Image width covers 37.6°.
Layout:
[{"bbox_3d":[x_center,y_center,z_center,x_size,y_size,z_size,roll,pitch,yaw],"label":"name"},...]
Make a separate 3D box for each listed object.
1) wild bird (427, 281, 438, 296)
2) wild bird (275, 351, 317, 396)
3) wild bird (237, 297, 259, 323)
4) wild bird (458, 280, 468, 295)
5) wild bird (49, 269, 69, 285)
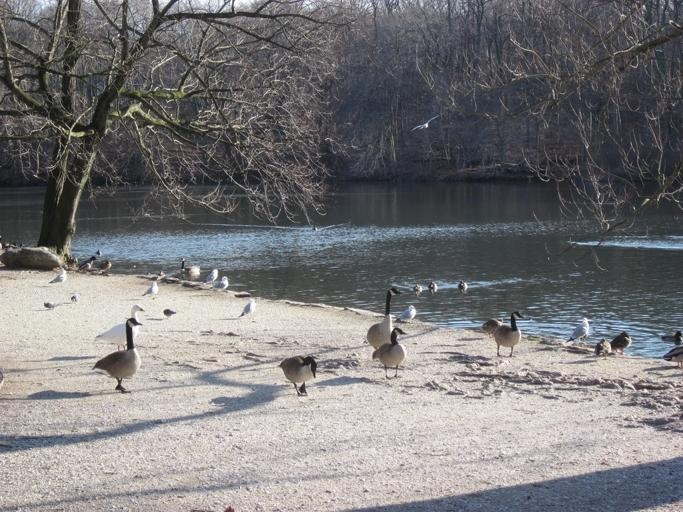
[{"bbox_3d":[2.909,1.020,32.273,0.227,0.384,0.263,-2,19,13],"label":"wild bird"},{"bbox_3d":[-0.881,2.444,21.255,0.467,0.746,1.242,-5,20,-25],"label":"wild bird"},{"bbox_3d":[-2.577,1.386,27.102,0.408,0.486,0.854,4,13,2],"label":"wild bird"},{"bbox_3d":[3.877,1.015,32.357,0.355,0.425,1.061,-1,-4,7],"label":"wild bird"},{"bbox_3d":[-8.856,0.636,30.904,0.750,0.525,0.414,-6,0,-3],"label":"wild bird"}]
